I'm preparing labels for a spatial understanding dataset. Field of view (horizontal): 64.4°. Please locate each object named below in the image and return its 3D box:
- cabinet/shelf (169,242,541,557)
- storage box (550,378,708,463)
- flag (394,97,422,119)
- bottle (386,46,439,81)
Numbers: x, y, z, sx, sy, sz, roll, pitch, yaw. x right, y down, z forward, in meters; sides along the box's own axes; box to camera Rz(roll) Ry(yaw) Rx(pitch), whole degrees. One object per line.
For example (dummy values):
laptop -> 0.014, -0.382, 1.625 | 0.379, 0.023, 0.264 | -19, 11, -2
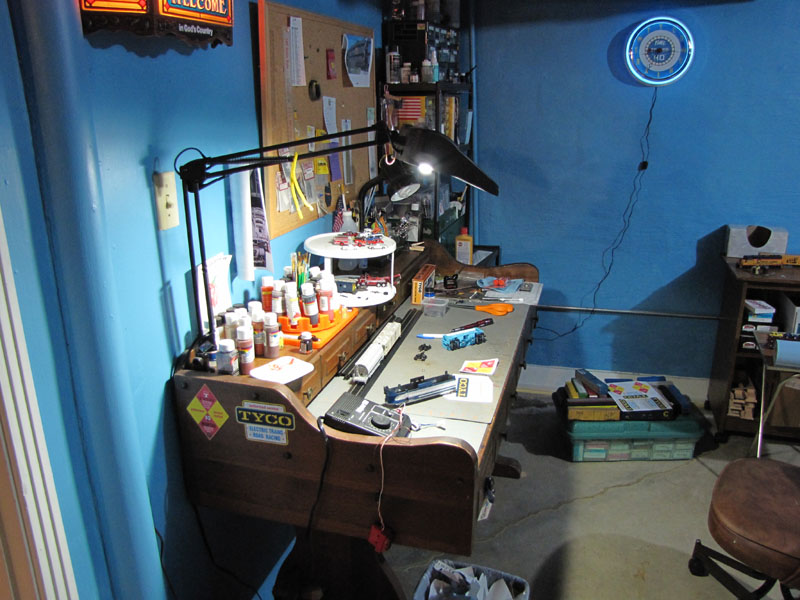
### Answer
cabinet/shelf -> -0.095, 0.052, 2.340 | 0.799, 0.910, 1.363 | 5, 27, 14
storage box -> 1.297, 0.691, 3.607 | 0.565, 0.222, 0.585 | 0, 8, 10
flag -> 0.048, -1.095, 3.597 | 0.123, 0.091, 0.006 | 1, 30, 1
bottle -> 0.066, -1.299, 3.512 | 0.276, 0.209, 0.145 | 1, 17, 19
